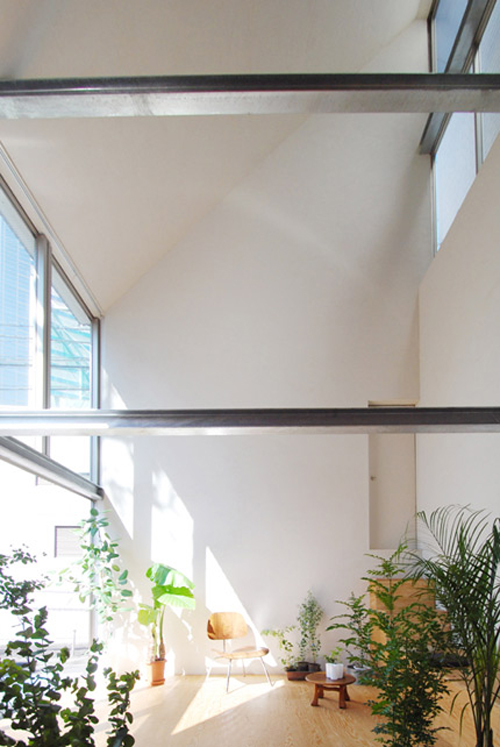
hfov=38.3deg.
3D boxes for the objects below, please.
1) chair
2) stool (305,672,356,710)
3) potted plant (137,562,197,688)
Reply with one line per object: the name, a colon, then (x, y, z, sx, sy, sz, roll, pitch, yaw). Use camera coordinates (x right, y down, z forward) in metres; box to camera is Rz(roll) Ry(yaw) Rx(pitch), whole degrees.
chair: (-0.108, 2.543, 6.643, 0.485, 0.668, 0.521, 2, -15, -21)
stool: (0.668, 2.605, 5.981, 0.336, 0.182, 0.334, 1, -20, 5)
potted plant: (-0.802, 2.324, 6.761, 0.509, 1.055, 0.639, 2, -9, -10)
